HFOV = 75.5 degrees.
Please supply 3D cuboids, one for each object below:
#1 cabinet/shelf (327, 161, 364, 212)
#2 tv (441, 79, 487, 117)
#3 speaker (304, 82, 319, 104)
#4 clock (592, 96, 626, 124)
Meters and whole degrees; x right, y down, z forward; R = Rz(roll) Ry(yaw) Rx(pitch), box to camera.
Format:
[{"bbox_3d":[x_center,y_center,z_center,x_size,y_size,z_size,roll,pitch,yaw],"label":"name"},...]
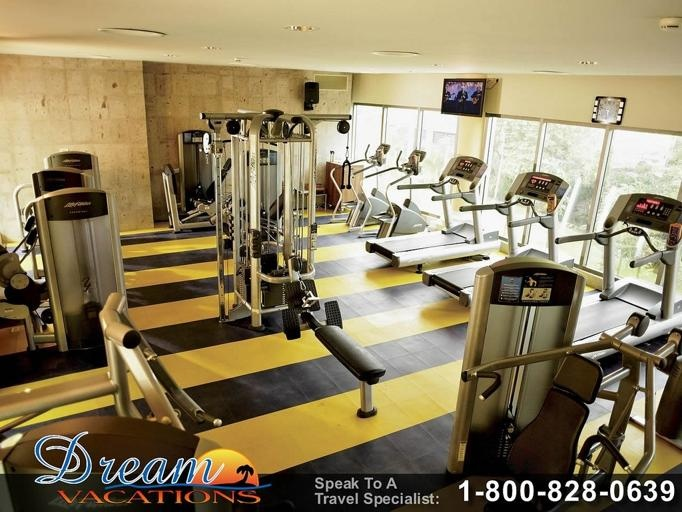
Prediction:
[{"bbox_3d":[0.080,-1.660,10.647,0.887,1.139,1.412,-1,16,-5],"label":"cabinet/shelf"},{"bbox_3d":[2.272,-2.943,8.147,0.242,0.714,1.180,-11,19,-37],"label":"tv"},{"bbox_3d":[-0.675,-3.825,10.249,0.345,0.481,0.183,-4,18,-15],"label":"speaker"},{"bbox_3d":[3.848,-2.100,6.328,0.135,0.405,0.429,-7,18,-22],"label":"clock"}]
